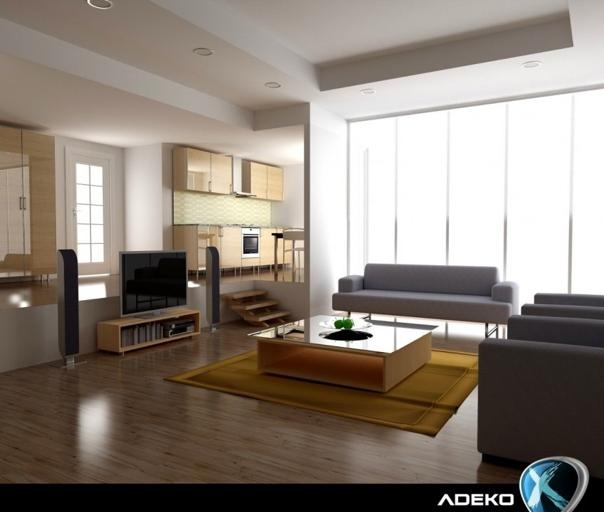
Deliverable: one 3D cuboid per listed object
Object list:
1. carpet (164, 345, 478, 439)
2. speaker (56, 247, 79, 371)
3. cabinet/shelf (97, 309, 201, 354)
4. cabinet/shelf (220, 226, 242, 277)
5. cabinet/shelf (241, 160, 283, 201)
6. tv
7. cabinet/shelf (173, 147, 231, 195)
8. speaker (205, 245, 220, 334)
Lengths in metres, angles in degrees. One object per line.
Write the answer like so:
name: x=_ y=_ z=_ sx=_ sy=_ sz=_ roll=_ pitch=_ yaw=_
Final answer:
carpet: x=0.339 y=1.078 z=4.395 sx=2.410 sy=0.063 sz=1.886 roll=3 pitch=6 yaw=29
speaker: x=-2.386 y=0.520 z=4.664 sx=0.160 sy=1.106 sz=0.199 roll=-8 pitch=-10 yaw=10
cabinet/shelf: x=-1.831 y=0.866 z=5.614 sx=0.435 sy=0.385 sz=1.155 roll=4 pitch=7 yaw=35
cabinet/shelf: x=-1.589 y=-0.179 z=9.693 sx=0.676 sy=0.880 sz=0.633 roll=-1 pitch=8 yaw=-5
cabinet/shelf: x=-0.989 y=-1.728 z=10.966 sx=0.425 sy=0.771 sz=1.337 roll=2 pitch=4 yaw=29
tv: x=-1.783 y=0.333 z=5.495 sx=0.035 sy=0.621 sz=0.897 roll=2 pitch=3 yaw=28
cabinet/shelf: x=-1.934 y=-1.659 z=9.272 sx=0.419 sy=0.678 sz=1.245 roll=2 pitch=2 yaw=38
speaker: x=-1.221 y=0.444 z=6.352 sx=0.180 sy=1.137 sz=0.313 roll=-1 pitch=5 yaw=-11
